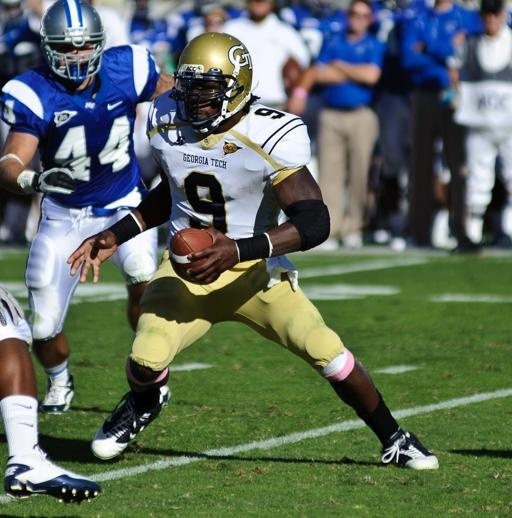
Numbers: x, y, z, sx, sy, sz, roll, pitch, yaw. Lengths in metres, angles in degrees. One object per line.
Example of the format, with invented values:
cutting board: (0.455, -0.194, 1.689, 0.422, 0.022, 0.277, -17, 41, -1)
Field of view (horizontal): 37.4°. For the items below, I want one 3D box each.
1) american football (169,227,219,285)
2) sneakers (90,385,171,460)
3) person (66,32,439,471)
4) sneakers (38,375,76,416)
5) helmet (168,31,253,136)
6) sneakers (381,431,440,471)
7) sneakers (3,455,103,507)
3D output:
american football: (-0.197, -0.022, 2.323, 0.164, 0.143, 0.185, -25, 10, -4)
sneakers: (-0.452, 0.575, 2.637, 0.124, 0.141, 0.370, 41, 45, 8)
person: (-0.086, -0.028, 2.474, 1.073, 1.448, 0.569, 3, 7, 33)
sneakers: (-0.841, 0.591, 3.171, 0.083, 0.077, 0.199, 1, 2, -4)
helmet: (-0.139, -0.579, 2.466, 0.282, 0.342, 0.177, -2, 6, -14)
sneakers: (0.514, 0.650, 2.510, 0.145, 0.111, 0.324, -4, -9, -16)
sneakers: (-0.548, 0.589, 1.980, 0.318, 0.127, 0.098, 4, -8, -11)
